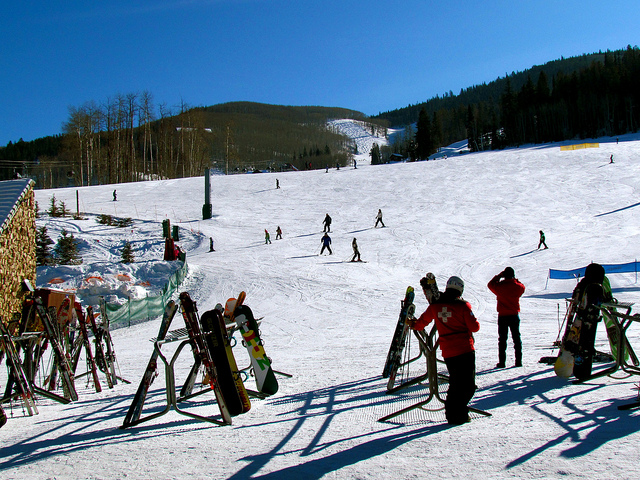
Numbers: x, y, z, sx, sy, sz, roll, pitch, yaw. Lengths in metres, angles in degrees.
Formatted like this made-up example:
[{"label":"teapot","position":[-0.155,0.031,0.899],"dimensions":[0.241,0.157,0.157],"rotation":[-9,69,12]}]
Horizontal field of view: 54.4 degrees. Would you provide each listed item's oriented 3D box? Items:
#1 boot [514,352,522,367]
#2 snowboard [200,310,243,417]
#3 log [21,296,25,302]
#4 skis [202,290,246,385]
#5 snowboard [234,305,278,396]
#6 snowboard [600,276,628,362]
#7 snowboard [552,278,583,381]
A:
[{"label":"boot","position":[3.956,2.398,12.371],"dimensions":[0.132,0.281,0.216],"rotation":[0,7,17]},{"label":"snowboard","position":[-1.603,2.105,10.632],"dimensions":[0.499,2.077,0.357],"rotation":[-13,1,16]},{"label":"log","position":[-8.481,1.739,17.916],"dimensions":[0.034,0.149,0.153],"rotation":[5,1,2]},{"label":"skis","position":[-1.747,1.916,11.578],"dimensions":[0.222,2.157,0.292],"rotation":[13,-9,46]},{"label":"snowboard","position":[-1.083,2.019,11.323],"dimensions":[0.489,2.040,0.352],"rotation":[-11,14,27]},{"label":"snowboard","position":[5.906,1.677,12.494],"dimensions":[0.243,1.813,0.436],"rotation":[-22,12,-23]},{"label":"snowboard","position":[4.473,1.592,11.185],"dimensions":[0.422,1.964,0.565],"rotation":[-2,6,8]}]
